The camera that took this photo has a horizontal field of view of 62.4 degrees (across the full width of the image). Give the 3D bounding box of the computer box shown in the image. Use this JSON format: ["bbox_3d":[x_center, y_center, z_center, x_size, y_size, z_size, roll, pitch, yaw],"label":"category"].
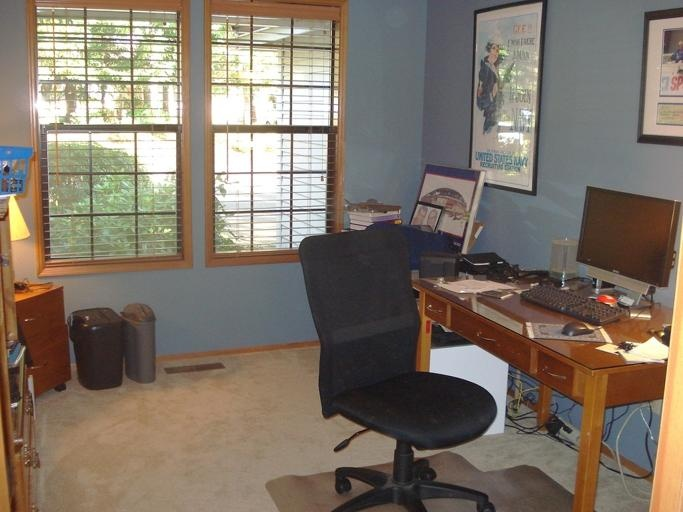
[{"bbox_3d":[0.792,0.982,3.779,0.490,0.661,0.601,0,56,5],"label":"computer box"}]

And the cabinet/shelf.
[{"bbox_3d":[-2.061,0.599,3.918,0.203,0.735,0.442,2,13,12],"label":"cabinet/shelf"}]

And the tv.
[{"bbox_3d":[1.489,-0.044,2.917,0.156,0.508,0.586,-7,15,-22],"label":"tv"}]

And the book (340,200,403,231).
[{"bbox_3d":[0.265,-0.342,4.666,0.378,0.122,0.356,-6,12,-33],"label":"book"}]

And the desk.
[{"bbox_3d":[0.947,0.635,3.069,0.472,0.752,1.454,-7,14,-25],"label":"desk"}]

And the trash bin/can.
[{"bbox_3d":[-1.686,0.666,4.309,0.640,0.613,0.494,-5,10,-29],"label":"trash bin/can"}]
